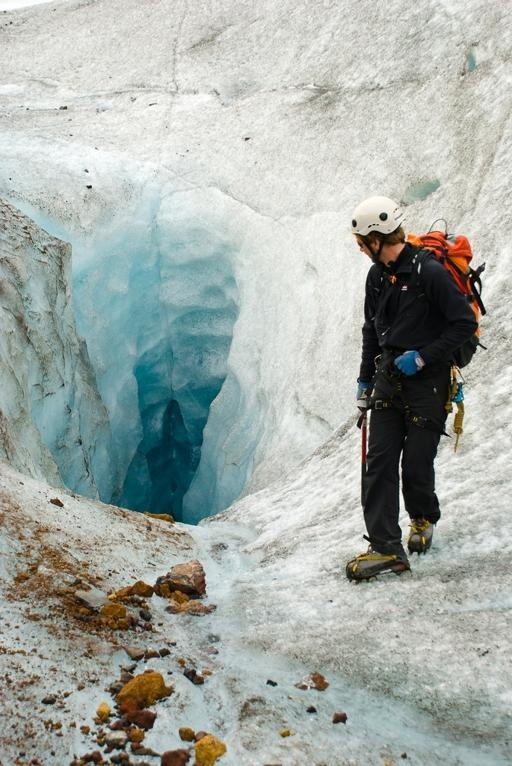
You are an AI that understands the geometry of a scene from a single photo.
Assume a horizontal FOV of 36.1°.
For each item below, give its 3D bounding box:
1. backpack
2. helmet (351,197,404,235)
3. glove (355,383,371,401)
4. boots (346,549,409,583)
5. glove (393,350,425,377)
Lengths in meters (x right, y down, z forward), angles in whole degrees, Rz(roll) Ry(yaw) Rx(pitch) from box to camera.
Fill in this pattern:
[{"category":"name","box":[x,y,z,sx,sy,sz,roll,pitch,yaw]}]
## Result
[{"category":"backpack","box":[0.966,-0.431,4.042,0.409,0.702,0.559,5,11,14]},{"category":"helmet","box":[0.580,-0.832,3.972,0.274,0.159,0.191,12,33,25]},{"category":"glove","box":[0.589,0.049,4.337,0.075,0.089,0.094,-2,-8,16]},{"category":"boots","box":[0.642,0.962,4.122,0.316,0.152,0.153,-5,-10,11]},{"category":"glove","box":[0.750,-0.097,3.850,0.043,0.123,0.159,-7,13,-41]}]
